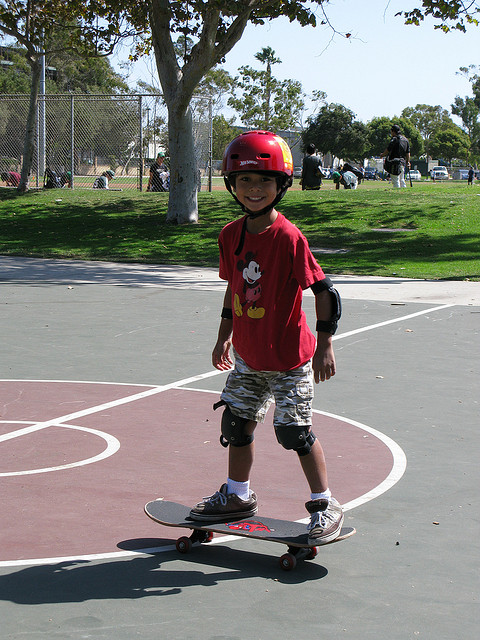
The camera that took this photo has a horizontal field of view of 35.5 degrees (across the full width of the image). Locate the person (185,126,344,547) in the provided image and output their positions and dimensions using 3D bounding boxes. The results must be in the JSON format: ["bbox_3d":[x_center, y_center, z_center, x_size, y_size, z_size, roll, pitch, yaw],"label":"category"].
[{"bbox_3d":[0.151,0.043,3.070,0.597,1.625,0.719,2,12,7],"label":"person"}]

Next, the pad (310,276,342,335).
[{"bbox_3d":[0.374,-0.063,3.076,0.149,0.218,0.140,3,13,28],"label":"pad"}]

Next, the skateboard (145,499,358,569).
[{"bbox_3d":[0.034,0.885,3.066,0.805,0.126,0.190,4,7,25],"label":"skateboard"}]

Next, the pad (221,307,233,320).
[{"bbox_3d":[-0.062,-0.035,3.451,0.050,0.035,0.050,10,14,34],"label":"pad"}]

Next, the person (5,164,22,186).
[{"bbox_3d":[-9.583,-6.109,31.537,0.529,0.864,2.677,-3,11,-17],"label":"person"}]

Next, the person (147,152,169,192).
[{"bbox_3d":[-2.800,-5.044,25.570,0.699,1.294,2.099,-1,11,-7],"label":"person"}]

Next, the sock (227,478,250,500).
[{"bbox_3d":[0.003,0.719,3.234,0.066,0.097,0.107,7,12,1],"label":"sock"}]

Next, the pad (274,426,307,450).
[{"bbox_3d":[0.215,0.469,3.056,0.088,0.089,0.111,3,12,28],"label":"pad"}]
